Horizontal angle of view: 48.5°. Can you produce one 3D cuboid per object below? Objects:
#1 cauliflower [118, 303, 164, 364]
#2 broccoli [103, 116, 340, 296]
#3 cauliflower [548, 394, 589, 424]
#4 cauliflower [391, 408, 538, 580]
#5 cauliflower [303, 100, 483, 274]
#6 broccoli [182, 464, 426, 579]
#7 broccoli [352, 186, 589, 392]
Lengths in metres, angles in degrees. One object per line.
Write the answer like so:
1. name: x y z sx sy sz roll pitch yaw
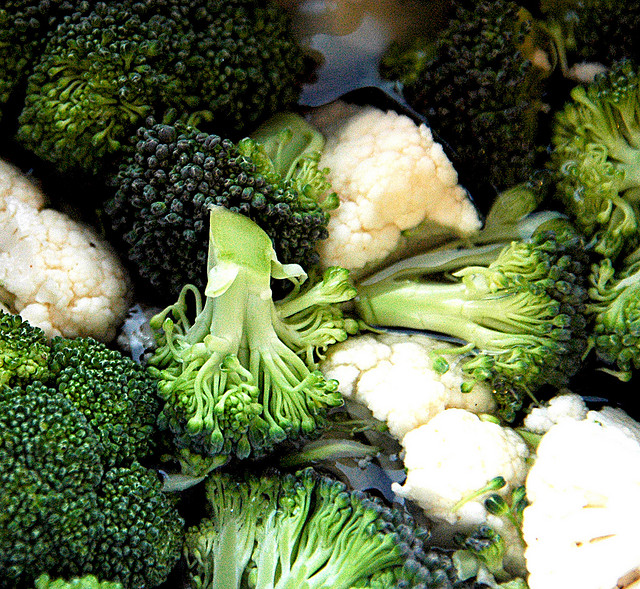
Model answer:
1. cauliflower: -0.540 0.115 2.112 0.121 0.041 0.157 29 91 31
2. broccoli: -0.272 -0.277 1.978 0.552 0.387 0.538 -6 99 -22
3. cauliflower: 0.710 0.326 2.035 0.088 0.025 0.086 2 35 13
4. cauliflower: 0.386 0.541 2.094 0.455 0.484 0.399 -5 97 -2
5. cauliflower: 0.220 -0.352 2.341 0.463 0.546 0.354 -2 16 -8
6. broccoli: -0.082 0.629 1.915 0.452 0.182 0.347 -2 38 -13
7. broccoli: 0.456 0.055 2.212 0.676 0.360 0.557 14 41 18
